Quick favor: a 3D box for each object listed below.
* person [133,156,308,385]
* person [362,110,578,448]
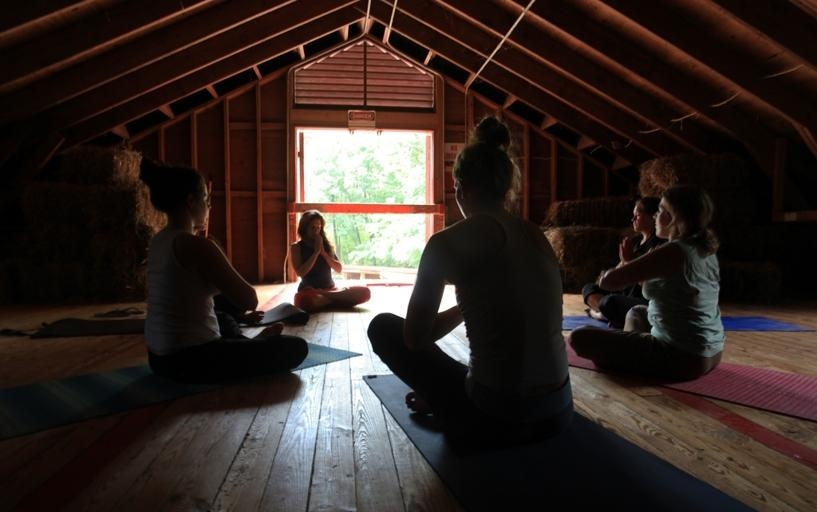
[{"bbox_3d":[-1.483,0.212,4.102,1.205,1.705,1.528,1,1,-39],"label":"person"},{"bbox_3d":[0.358,0.200,2.814,0.963,1.527,0.323,1,5,5],"label":"person"}]
